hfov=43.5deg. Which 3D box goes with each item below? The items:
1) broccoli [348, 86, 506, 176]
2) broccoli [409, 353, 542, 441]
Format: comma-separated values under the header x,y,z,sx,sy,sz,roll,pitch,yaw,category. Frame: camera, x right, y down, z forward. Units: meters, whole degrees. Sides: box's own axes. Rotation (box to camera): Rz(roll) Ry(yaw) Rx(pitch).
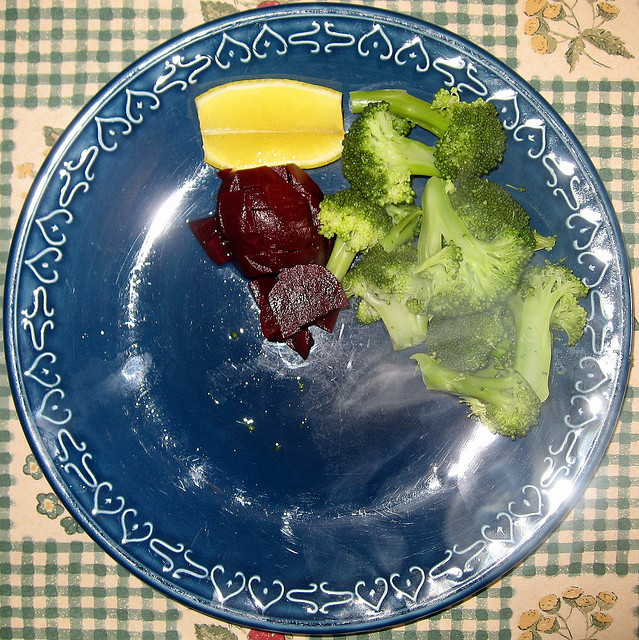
x,y,z,sx,sy,sz,roll,pitch,yaw,category
0.358,-0.583,2.645,0.426,0.215,0.272,30,64,16,broccoli
0.548,0.248,2.737,0.357,0.179,0.232,23,93,16,broccoli
